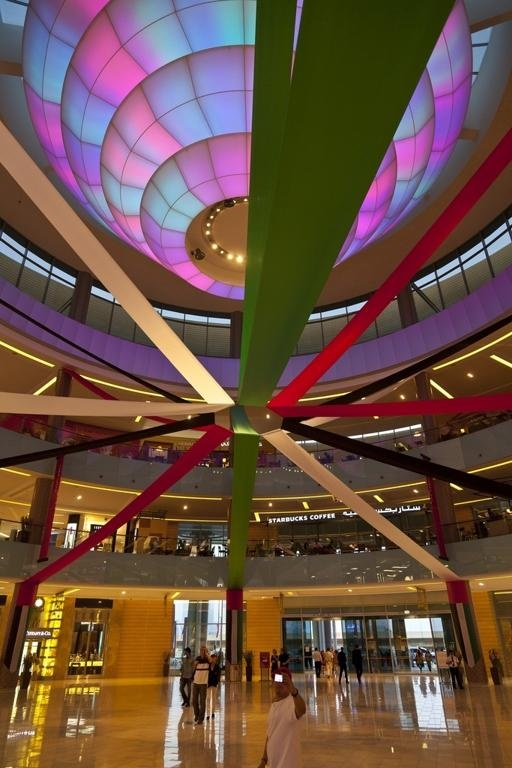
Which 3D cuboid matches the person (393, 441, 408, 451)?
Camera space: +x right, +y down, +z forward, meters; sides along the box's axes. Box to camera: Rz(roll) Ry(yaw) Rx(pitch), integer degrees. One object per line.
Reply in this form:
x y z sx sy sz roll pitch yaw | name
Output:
9.037 4.015 26.171 0.315 0.837 0.820 15 -31 -28 | person

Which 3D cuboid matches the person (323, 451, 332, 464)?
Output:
4.677 4.993 27.923 0.762 0.938 0.191 -5 -27 7 | person
